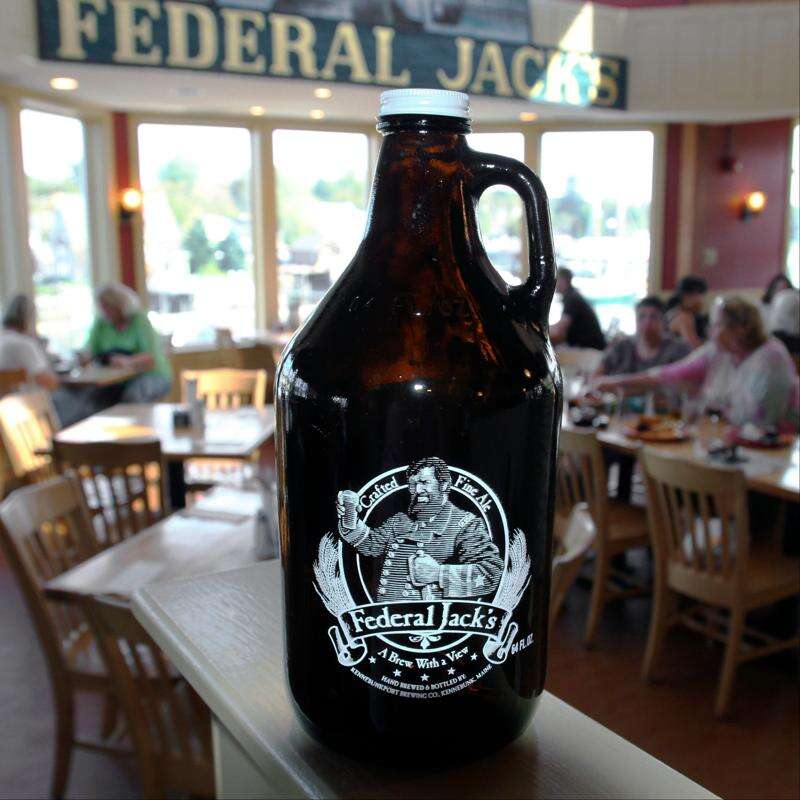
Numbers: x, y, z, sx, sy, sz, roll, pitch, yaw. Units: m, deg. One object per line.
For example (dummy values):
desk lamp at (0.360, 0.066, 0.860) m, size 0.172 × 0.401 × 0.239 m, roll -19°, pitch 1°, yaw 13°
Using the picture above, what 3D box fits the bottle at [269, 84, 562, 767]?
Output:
bottle at (0.007, 0.020, 0.480) m, size 0.161 × 0.385 × 0.086 m, roll 5°, pitch 5°, yaw 10°
